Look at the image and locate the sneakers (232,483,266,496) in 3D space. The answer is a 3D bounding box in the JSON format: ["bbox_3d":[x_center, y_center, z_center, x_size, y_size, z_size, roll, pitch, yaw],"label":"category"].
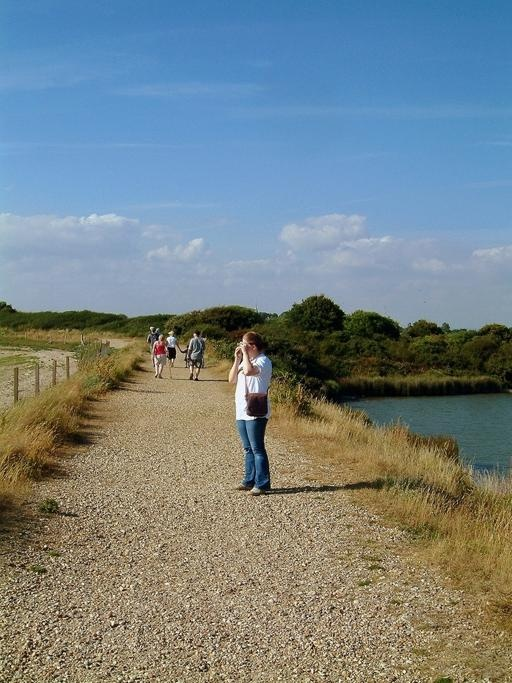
[{"bbox_3d":[-0.067,1.744,7.540,0.379,0.146,0.122,8,-6,18],"label":"sneakers"}]

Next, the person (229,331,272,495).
[{"bbox_3d":[-0.077,0.839,7.453,0.519,1.879,0.639,2,1,2],"label":"person"}]

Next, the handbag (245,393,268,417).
[{"bbox_3d":[0.009,0.722,7.206,0.256,0.265,0.142,2,1,-9],"label":"handbag"}]
